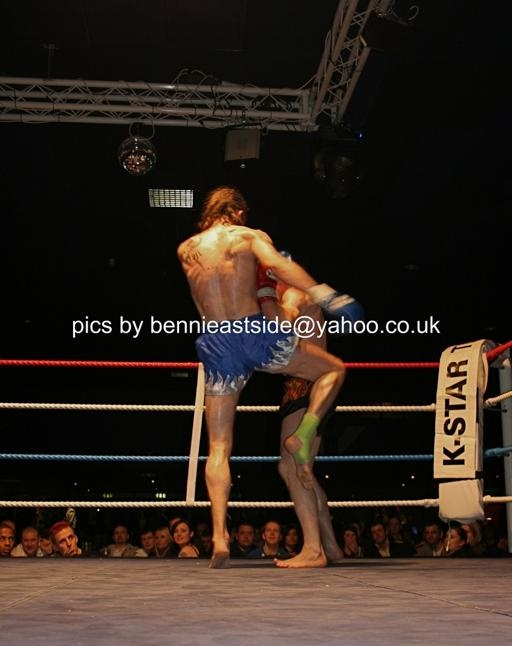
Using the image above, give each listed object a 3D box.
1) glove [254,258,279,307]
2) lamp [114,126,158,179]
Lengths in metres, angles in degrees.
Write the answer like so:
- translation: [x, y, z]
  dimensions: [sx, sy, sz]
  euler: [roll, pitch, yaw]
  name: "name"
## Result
- translation: [0.029, -0.141, 2.644]
  dimensions: [0.069, 0.044, 0.176]
  euler: [16, 22, -8]
  name: "glove"
- translation: [-1.114, -1.628, 7.238]
  dimensions: [0.408, 0.490, 0.387]
  euler: [27, 36, 30]
  name: "lamp"
